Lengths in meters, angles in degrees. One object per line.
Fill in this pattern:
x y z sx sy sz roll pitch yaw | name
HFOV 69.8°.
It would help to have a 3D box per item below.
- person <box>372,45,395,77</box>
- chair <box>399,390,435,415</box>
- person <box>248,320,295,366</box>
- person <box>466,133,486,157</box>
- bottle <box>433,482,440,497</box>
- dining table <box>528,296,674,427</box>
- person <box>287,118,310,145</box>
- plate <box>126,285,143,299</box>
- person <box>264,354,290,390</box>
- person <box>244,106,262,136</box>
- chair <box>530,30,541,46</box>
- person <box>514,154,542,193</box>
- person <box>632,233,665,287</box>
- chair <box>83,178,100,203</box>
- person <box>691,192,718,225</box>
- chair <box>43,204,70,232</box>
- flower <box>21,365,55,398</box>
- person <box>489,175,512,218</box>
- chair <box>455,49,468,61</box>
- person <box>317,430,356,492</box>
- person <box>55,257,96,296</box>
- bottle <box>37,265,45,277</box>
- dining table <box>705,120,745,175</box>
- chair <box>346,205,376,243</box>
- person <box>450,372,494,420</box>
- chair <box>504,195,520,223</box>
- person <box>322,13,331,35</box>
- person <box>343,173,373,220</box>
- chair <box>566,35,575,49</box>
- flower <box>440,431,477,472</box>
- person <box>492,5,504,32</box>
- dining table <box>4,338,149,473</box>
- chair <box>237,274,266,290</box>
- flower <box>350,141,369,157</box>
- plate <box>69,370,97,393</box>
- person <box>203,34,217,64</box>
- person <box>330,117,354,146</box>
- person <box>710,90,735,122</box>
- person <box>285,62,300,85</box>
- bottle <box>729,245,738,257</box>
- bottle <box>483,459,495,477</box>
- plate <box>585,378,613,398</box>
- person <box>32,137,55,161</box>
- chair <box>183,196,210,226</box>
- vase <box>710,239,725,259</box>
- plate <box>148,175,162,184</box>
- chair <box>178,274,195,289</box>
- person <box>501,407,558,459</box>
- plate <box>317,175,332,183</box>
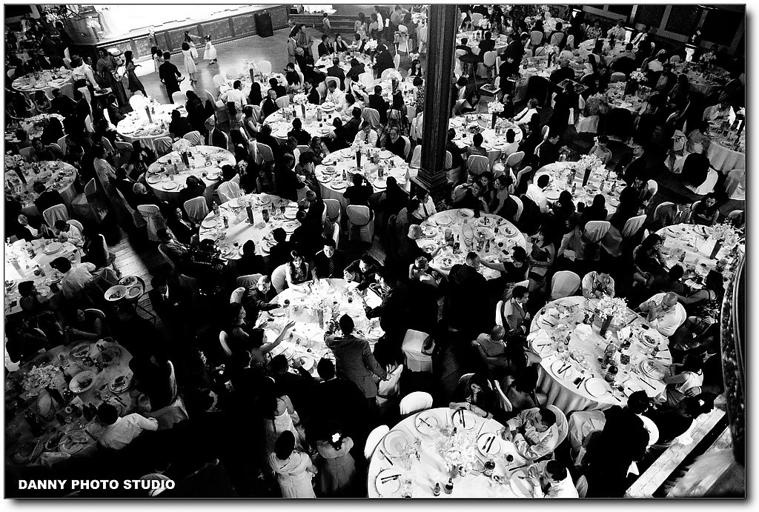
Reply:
-0.015 -7.424 20.696 0.631 1.707 0.576 9 68 -7 | person
0.728 2.838 10.848 0.475 0.511 0.624 5 2 -4 | chair
-2.232 1.694 10.958 0.470 0.520 0.948 23 77 15 | person
2.779 -3.173 15.431 0.557 0.793 0.914 0 31 4 | person
0.997 4.117 9.537 0.084 0.152 0.105 -17 43 -17 | bottle
4.350 1.797 11.089 2.464 1.544 2.504 -12 51 -7 | dining table
-2.359 -3.659 15.929 0.706 0.754 0.658 -14 33 -18 | person
-5.481 0.845 12.121 0.359 0.252 0.396 -13 33 -17 | plate
-2.065 2.278 10.749 0.535 0.438 0.735 10 22 -2 | person
-4.049 -4.238 17.170 0.462 0.508 1.311 -22 7 -6 | person
6.283 -8.744 21.786 0.473 0.531 0.285 6 32 14 | chair
4.144 -2.392 15.401 0.761 0.555 0.555 16 3 -10 | person
6.181 0.128 12.431 0.492 1.156 0.661 36 74 28 | person
-7.704 -1.759 14.449 0.394 0.556 0.274 -25 38 -33 | chair
7.960 -1.088 13.285 0.573 0.774 0.593 16 36 28 | person
-8.098 -0.931 13.476 0.387 0.448 0.550 -33 4 -32 | chair
-6.684 2.452 10.659 0.525 0.158 0.528 39 61 24 | flower
3.150 -1.561 14.253 0.510 1.200 0.332 -3 71 11 | person
3.256 -8.030 21.564 0.463 0.308 0.641 7 32 15 | chair
-0.836 3.799 10.094 0.757 1.607 0.614 -7 30 -15 | person
-6.850 0.402 12.171 0.744 0.806 0.576 -14 33 -18 | person
-7.735 0.334 12.328 0.169 0.244 0.230 8 10 4 | bottle
9.988 -3.045 15.637 1.009 0.631 1.020 19 56 25 | dining table
-0.499 -0.839 14.060 0.629 1.040 0.672 4 54 4 | chair
1.783 2.707 10.561 0.540 0.896 0.605 14 56 12 | person
3.547 -1.241 14.375 0.565 0.537 0.695 17 7 25 | chair
-2.610 -11.327 26.377 0.396 0.963 0.959 -4 31 -3 | person
-0.568 -1.657 14.040 0.498 0.405 1.275 -29 46 34 | person
7.403 -8.279 21.088 0.277 0.504 0.485 7 32 15 | chair
1.454 3.447 9.711 0.573 0.424 0.591 31 53 34 | flower
5.190 -10.544 24.069 0.548 0.910 1.934 4 32 10 | person
-6.043 2.753 10.485 2.419 1.351 2.022 -17 34 -22 | dining table
-2.886 0.500 12.016 0.366 0.501 0.421 1 73 -5 | chair
-0.583 -3.077 15.449 0.405 0.197 0.531 4 22 4 | flower
-5.760 2.454 10.497 0.378 0.141 0.383 24 58 10 | plate
-7.550 -9.221 23.953 0.588 1.222 2.118 -11 32 -14 | person
-1.200 -3.777 16.572 0.374 1.165 0.409 -27 81 -3 | person
10.482 -4.511 16.418 0.935 0.641 0.511 -23 36 -30 | person
-3.150 -6.458 19.381 0.309 0.896 0.655 -15 31 -20 | person
8.048 -0.117 12.307 0.168 0.154 0.300 23 39 35 | bottle
1.946 3.768 9.678 0.191 0.195 0.228 6 32 13 | bottle
4.196 2.546 10.499 0.435 0.165 0.356 -12 33 -16 | plate
-9.742 -3.025 15.641 0.445 0.540 1.236 -23 37 -30 | person
-4.746 -1.213 14.159 0.674 0.858 0.723 -9 71 -12 | chair
7.662 -0.190 12.311 0.164 0.412 0.457 22 39 35 | vase
-6.051 -2.063 14.547 0.277 0.067 0.277 38 58 22 | plate
-4.317 0.569 12.087 0.267 0.279 0.325 15 41 -12 | chair
2.754 3.254 9.886 0.559 0.930 0.507 -13 72 -12 | person
-1.470 -2.068 14.520 0.328 0.082 0.383 -19 35 -25 | plate
